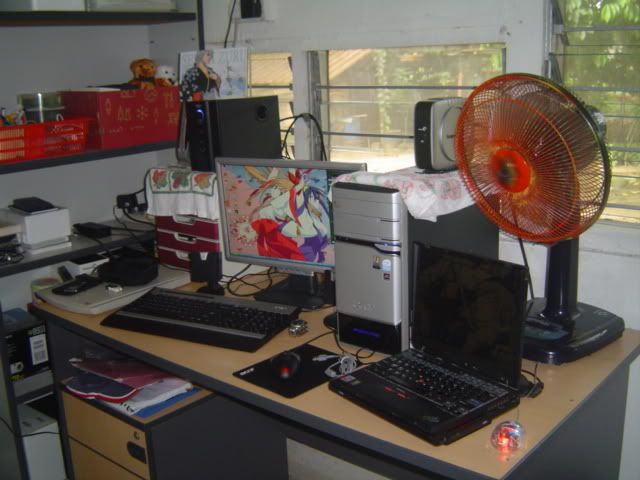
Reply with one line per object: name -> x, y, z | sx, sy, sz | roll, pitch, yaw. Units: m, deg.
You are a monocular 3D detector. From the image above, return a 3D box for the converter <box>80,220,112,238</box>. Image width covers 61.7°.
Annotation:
converter -> -1.023, -0.051, 2.419 | 0.132, 0.031, 0.068 | 12, 20, 38

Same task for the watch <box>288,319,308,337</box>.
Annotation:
watch -> -0.070, 0.288, 1.738 | 0.041, 0.028, 0.056 | 17, 28, 36

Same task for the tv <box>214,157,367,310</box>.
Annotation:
tv -> -0.098, -0.027, 1.841 | 0.503, 0.429, 0.236 | 6, 18, 26

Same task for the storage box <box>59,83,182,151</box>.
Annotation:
storage box -> -0.906, -0.631, 2.429 | 0.379, 0.229, 0.396 | 16, 25, 36

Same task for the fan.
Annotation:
fan -> 0.612, -0.043, 1.481 | 0.388, 0.796, 0.411 | 9, 18, 39

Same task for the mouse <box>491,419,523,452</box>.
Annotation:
mouse -> 0.438, 0.461, 1.264 | 0.062, 0.039, 0.073 | 10, 19, 40

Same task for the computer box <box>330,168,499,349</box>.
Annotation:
computer box -> 0.301, 0.051, 1.732 | 0.325, 0.502, 0.488 | 5, 10, 44

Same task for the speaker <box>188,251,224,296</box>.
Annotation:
speaker -> -0.429, 0.129, 2.088 | 0.129, 0.170, 0.106 | -1, 1, 12

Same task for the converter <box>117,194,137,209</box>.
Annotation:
converter -> -0.932, -0.184, 2.590 | 0.065, 0.055, 0.085 | -1, 1, 0

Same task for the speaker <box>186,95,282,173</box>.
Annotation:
speaker -> -0.338, -0.449, 2.236 | 0.368, 0.327, 0.186 | -18, 33, -40

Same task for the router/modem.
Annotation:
router/modem -> 0.398, -0.334, 1.715 | 0.097, 0.210, 0.258 | 8, 17, 43

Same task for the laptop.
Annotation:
laptop -> 0.255, 0.241, 1.407 | 0.364, 0.376, 0.428 | -10, 11, -37
